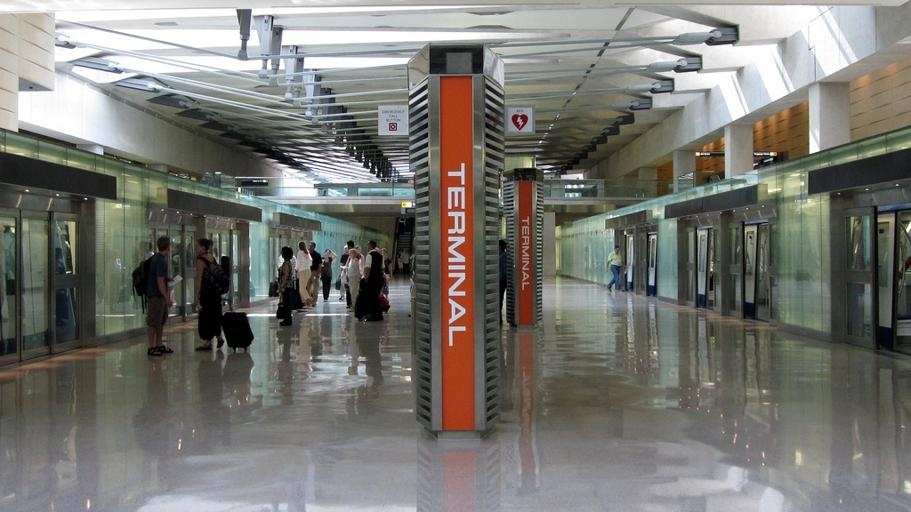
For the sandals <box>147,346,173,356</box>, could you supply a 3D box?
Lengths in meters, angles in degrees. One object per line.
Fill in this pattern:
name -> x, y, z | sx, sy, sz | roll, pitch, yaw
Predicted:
sandals -> -6.566, 2.087, 14.719 | 0.579, 0.188, 0.215 | -1, 1, -14
